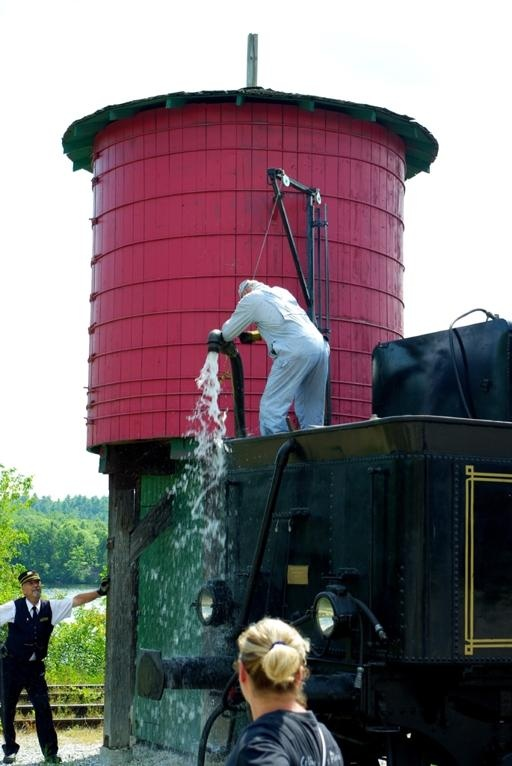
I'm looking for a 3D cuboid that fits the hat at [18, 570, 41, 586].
[{"bbox_3d":[-2.113,1.766,15.197,0.136,0.085,0.200,0,-18,-32],"label":"hat"}]

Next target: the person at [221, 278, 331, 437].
[{"bbox_3d":[0.158,-0.197,12.930,0.794,1.222,0.524,-1,-9,-3],"label":"person"}]

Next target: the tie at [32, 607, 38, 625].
[{"bbox_3d":[-2.012,2.089,14.993,0.053,0.139,0.080,1,-10,-13],"label":"tie"}]
